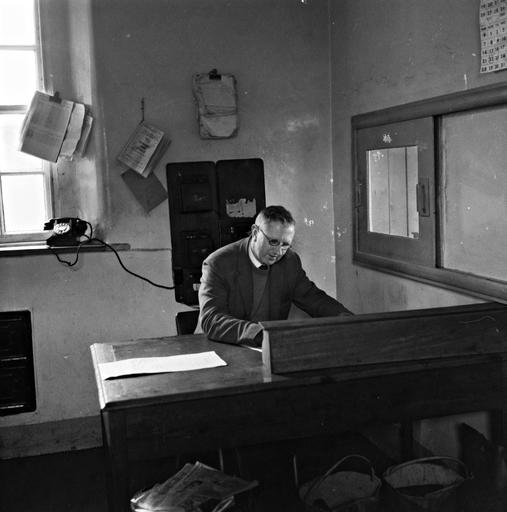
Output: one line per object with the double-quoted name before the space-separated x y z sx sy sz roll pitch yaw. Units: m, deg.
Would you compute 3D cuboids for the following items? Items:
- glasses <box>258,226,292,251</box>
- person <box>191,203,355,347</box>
"glasses" 0.097 -0.085 2.418 0.156 0.129 0.103 -2 3 -1
"person" 0.070 0.073 2.666 0.443 0.789 0.428 -12 35 -33
